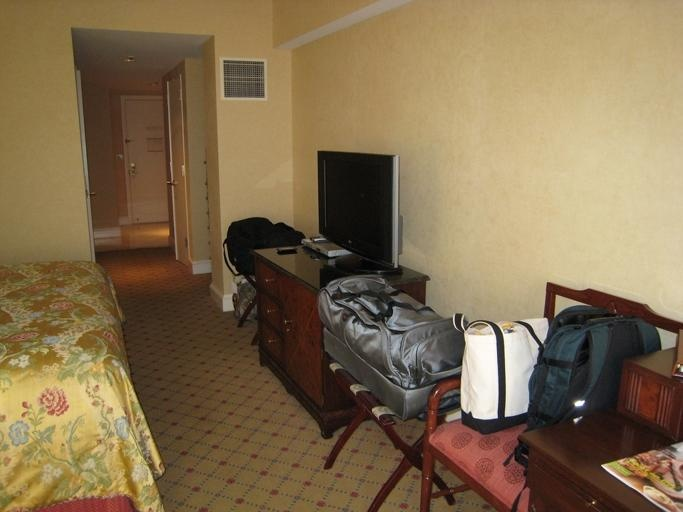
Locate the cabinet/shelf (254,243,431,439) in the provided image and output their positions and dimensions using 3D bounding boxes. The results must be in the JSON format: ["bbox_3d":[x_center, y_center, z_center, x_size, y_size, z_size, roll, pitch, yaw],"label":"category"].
[{"bbox_3d":[-0.081,0.480,3.688,0.745,0.943,1.234,-6,14,-25],"label":"cabinet/shelf"}]

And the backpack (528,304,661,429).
[{"bbox_3d":[0.984,0.447,1.990,0.363,0.500,0.283,12,3,-13],"label":"backpack"}]

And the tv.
[{"bbox_3d":[0.124,-0.340,3.520,0.224,0.759,1.041,-6,13,-25],"label":"tv"}]

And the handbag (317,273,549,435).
[{"bbox_3d":[0.338,0.388,2.399,0.565,0.330,0.878,-7,13,-32],"label":"handbag"}]
